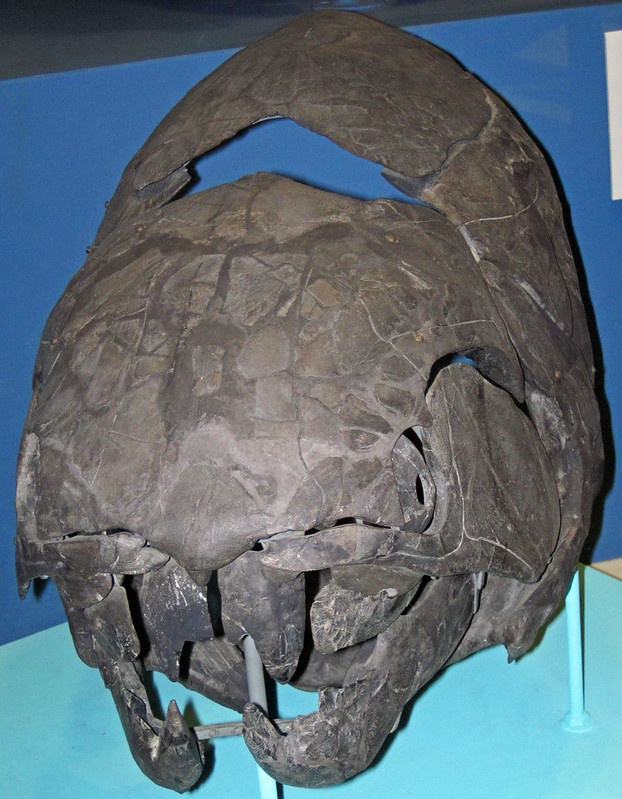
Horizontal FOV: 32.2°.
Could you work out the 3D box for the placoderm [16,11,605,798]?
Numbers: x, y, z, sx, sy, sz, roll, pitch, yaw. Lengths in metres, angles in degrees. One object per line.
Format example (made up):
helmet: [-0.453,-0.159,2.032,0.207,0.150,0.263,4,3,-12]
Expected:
placoderm: [0.003,-0.032,1.660,0.920,1.046,0.670,-26,28,-38]
